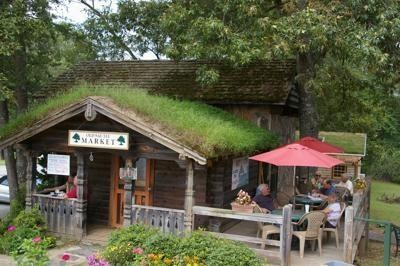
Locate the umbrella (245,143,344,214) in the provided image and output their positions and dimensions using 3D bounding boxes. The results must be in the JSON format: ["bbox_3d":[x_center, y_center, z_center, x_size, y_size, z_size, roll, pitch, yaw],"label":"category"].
[{"bbox_3d":[4.482,1.667,25.206,3.257,2.354,3.481,-4,11,-5],"label":"umbrella"}]

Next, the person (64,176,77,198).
[{"bbox_3d":[-5.948,2.460,25.900,0.493,1.003,1.237,2,-5,-14],"label":"person"}]

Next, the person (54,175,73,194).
[{"bbox_3d":[-6.376,2.394,26.436,0.900,0.373,0.679,1,-16,-39],"label":"person"}]

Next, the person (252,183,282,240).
[{"bbox_3d":[2.874,3.299,25.263,0.937,1.950,1.011,-20,-35,31],"label":"person"}]
